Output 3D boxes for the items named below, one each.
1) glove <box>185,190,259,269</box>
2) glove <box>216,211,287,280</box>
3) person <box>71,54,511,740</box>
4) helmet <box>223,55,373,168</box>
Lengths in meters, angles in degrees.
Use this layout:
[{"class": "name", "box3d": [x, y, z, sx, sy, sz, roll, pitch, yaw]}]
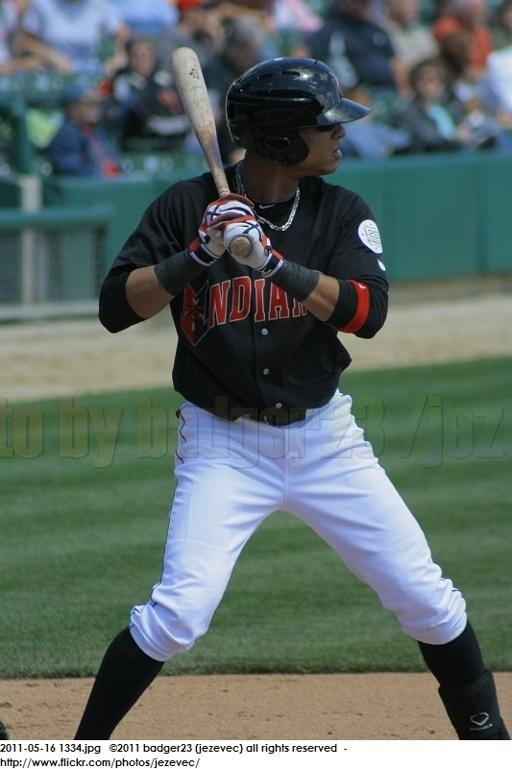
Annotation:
[{"class": "glove", "box3d": [-0.079, -0.329, 2.139, 0.074, 0.146, 0.137, 3, -22, 42]}, {"class": "glove", "box3d": [-0.010, -0.288, 2.062, 0.101, 0.061, 0.147, -12, -34, 14]}, {"class": "person", "box3d": [0.029, 0.032, 2.255, 0.936, 1.530, 0.569, -3, 11, -10]}, {"class": "helmet", "box3d": [0.123, -0.605, 2.226, 0.335, 0.201, 0.231, 1, 12, 11]}]
